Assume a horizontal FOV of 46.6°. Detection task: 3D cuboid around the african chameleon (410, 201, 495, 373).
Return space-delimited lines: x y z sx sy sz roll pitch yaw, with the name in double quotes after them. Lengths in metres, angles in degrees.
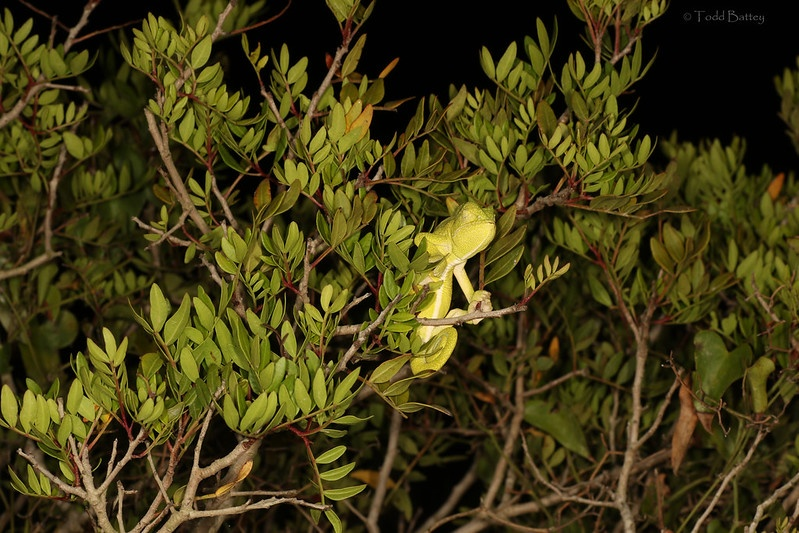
0.112 0.035 2.135 0.142 0.395 0.201 13 -6 45 "african chameleon"
